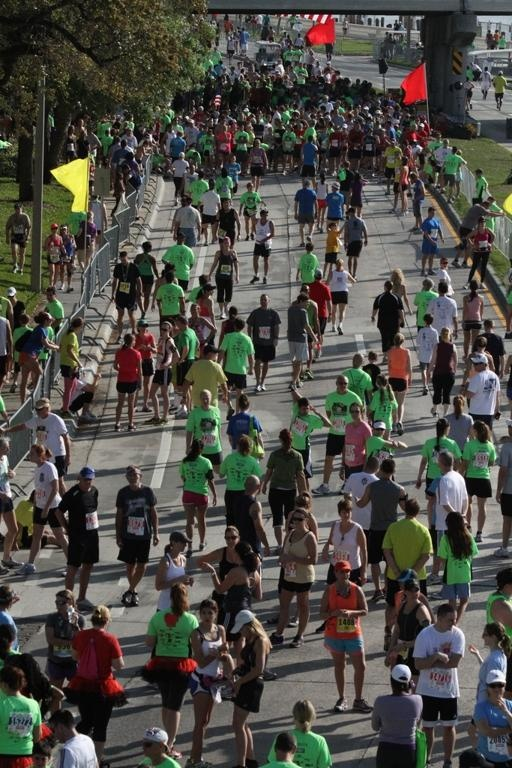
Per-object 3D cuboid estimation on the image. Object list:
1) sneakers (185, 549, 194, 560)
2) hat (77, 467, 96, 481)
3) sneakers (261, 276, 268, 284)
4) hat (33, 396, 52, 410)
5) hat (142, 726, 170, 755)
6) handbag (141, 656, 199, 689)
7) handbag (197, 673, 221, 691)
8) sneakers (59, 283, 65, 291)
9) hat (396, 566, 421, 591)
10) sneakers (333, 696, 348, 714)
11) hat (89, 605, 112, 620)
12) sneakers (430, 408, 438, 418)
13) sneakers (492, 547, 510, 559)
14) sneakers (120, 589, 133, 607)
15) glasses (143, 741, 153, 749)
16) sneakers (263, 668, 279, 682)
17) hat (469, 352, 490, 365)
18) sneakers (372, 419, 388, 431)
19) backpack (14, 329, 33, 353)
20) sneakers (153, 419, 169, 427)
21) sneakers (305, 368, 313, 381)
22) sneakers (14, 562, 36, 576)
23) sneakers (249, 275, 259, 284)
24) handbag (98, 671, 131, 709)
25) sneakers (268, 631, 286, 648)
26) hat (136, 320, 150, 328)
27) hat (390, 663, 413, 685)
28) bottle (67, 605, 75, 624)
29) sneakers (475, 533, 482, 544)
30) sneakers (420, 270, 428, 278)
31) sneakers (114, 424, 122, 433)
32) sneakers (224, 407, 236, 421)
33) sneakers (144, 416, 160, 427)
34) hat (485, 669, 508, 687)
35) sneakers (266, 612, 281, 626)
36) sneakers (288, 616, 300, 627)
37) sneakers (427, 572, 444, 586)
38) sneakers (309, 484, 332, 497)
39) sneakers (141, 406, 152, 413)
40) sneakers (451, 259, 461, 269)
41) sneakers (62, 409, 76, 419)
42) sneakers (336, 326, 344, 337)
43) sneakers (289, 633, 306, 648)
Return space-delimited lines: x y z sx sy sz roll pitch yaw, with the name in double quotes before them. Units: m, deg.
"sneakers" -0.725 1.849 14.438 0.074 0.084 0.164 2 6 -1
"hat" -1.633 0.878 12.799 0.125 0.099 0.179 5 6 -18
"sneakers" 0.188 -2.106 26.701 0.067 0.153 0.139 0 2 4
"hat" -2.391 0.211 14.832 0.151 0.119 0.205 0 -3 10
"hat" -0.644 2.186 8.164 0.149 0.185 0.178 3 -24 15
"handbag" -0.682 2.144 10.071 0.347 0.247 0.229 0 7 -8
"handbag" -0.353 2.207 9.813 0.132 0.064 0.139 5 27 -14
"sneakers" -3.815 -1.934 26.072 0.071 0.145 0.229 2 30 -12
"hat" 1.271 1.607 10.873 0.181 0.163 0.297 3 -1 0
"sneakers" 0.698 2.616 10.850 0.118 0.115 0.152 2 6 4
"hat" -1.136 1.691 9.763 0.106 0.123 0.188 3 6 14
"sneakers" 2.651 0.416 19.515 0.058 0.069 0.171 5 36 3
"sneakers" 2.690 1.811 14.459 0.083 0.141 0.199 -5 20 -9
"sneakers" -1.263 2.114 13.164 0.138 0.159 0.168 0 6 -18
"glasses" -0.658 2.198 8.082 0.059 0.020 0.056 17 -16 -39
"sneakers" 0.110 2.542 11.551 0.065 0.079 0.175 -1 -7 -25
"hat" 2.891 -0.335 16.959 0.169 0.139 0.290 11 6 2
"sneakers" 1.393 0.448 14.414 0.150 0.122 0.257 9 1 6
"backpack" -3.409 -0.620 19.353 0.233 0.358 0.798 1 6 -11
"sneakers" -1.406 0.537 19.360 0.221 0.097 0.157 2 6 -5
"sneakers" 0.856 -0.152 21.266 0.070 0.095 0.221 0 -35 23
"sneakers" -2.425 1.949 13.894 0.233 0.091 0.115 -9 -27 1
"sneakers" -0.022 -2.121 26.754 0.180 0.132 0.102 -7 44 0
"handbag" -1.047 2.249 9.706 0.177 0.249 0.184 1 6 -7
"sneakers" 0.196 2.349 12.232 0.189 0.093 0.071 7 15 23
"hat" -1.573 -0.824 18.538 0.131 0.130 0.221 -6 21 -9
"hat" 0.976 1.942 8.929 0.144 0.120 0.242 20 -2 -3
"bottle" -1.427 1.755 10.190 0.053 0.122 0.127 1 6 -8
"sneakers" 2.518 1.722 14.849 0.046 0.065 0.146 0 18 -2
"sneakers" 3.475 -2.277 27.247 0.173 0.091 0.243 5 7 19
"sneakers" -1.990 0.608 19.075 0.051 0.114 0.160 3 9 -1
"sneakers" -0.370 0.416 18.843 0.100 0.137 0.313 18 -27 3
"sneakers" -1.518 0.530 19.414 0.258 0.122 0.104 3 6 29
"hat" 1.594 1.939 8.771 0.163 0.131 0.238 2 -9 4
"sneakers" 0.175 2.258 12.801 0.057 0.073 0.179 5 17 10
"sneakers" 0.364 2.277 12.724 0.091 0.125 0.204 3 6 7
"sneakers" 1.867 1.987 13.674 0.135 0.115 0.330 3 6 13
"sneakers" 0.809 1.324 16.434 0.260 0.196 0.105 1 2 -1
"sneakers" -1.667 0.359 20.130 0.161 0.106 0.391 1 6 -6
"sneakers" 4.304 -2.572 28.133 0.102 0.136 0.314 23 20 7
"sneakers" -2.698 0.415 18.926 0.162 0.119 0.342 2 6 -1
"sneakers" 1.525 -0.971 23.706 0.068 0.083 0.218 3 51 -4
"sneakers" 0.383 2.352 12.259 0.069 0.081 0.182 5 23 11
